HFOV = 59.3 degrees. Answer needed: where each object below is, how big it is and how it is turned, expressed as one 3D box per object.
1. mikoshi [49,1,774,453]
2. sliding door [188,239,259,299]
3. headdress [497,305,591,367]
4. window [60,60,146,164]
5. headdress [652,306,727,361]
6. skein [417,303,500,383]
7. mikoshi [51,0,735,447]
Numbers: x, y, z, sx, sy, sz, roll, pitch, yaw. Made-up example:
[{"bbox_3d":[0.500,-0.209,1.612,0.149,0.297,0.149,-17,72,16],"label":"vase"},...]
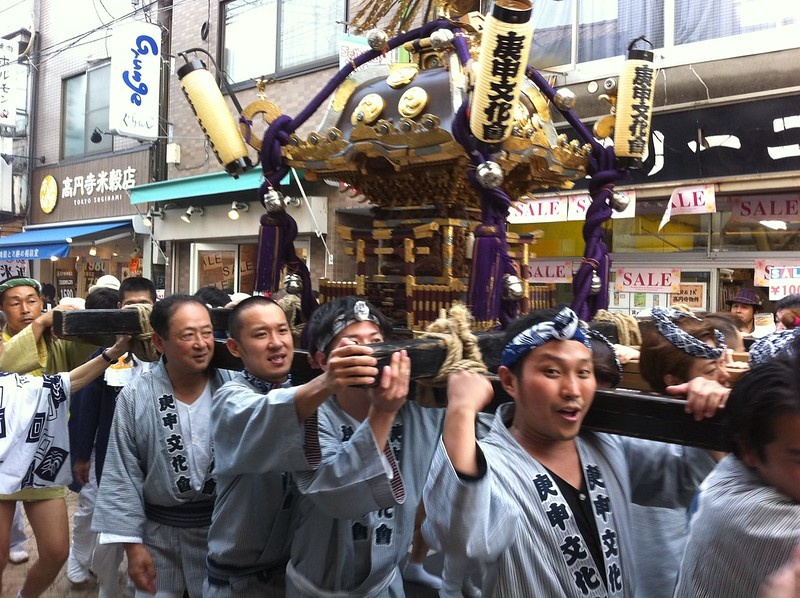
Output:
[{"bbox_3d":[0.151,-0.567,4.665,3.153,1.973,2.972,0,3,15],"label":"mikoshi"},{"bbox_3d":[-2.682,-0.509,10.614,1.236,0.950,0.114,-1,4,-22],"label":"sliding door"},{"bbox_3d":[0.512,0.132,2.602,0.277,0.142,0.227,-27,-26,37],"label":"headdress"},{"bbox_3d":[-5.423,-3.432,12.852,2.709,2.549,0.198,3,4,39],"label":"window"},{"bbox_3d":[1.213,0.191,3.061,0.307,0.083,0.249,26,20,24],"label":"headdress"},{"bbox_3d":[0.222,0.161,2.678,0.253,0.292,0.141,-3,-44,-14],"label":"skein"},{"bbox_3d":[0.112,-0.570,5.177,3.075,1.824,2.988,0,1,28],"label":"mikoshi"}]
